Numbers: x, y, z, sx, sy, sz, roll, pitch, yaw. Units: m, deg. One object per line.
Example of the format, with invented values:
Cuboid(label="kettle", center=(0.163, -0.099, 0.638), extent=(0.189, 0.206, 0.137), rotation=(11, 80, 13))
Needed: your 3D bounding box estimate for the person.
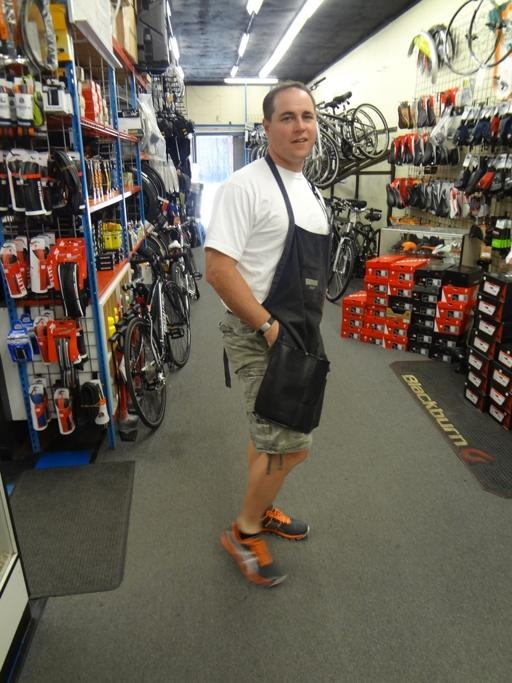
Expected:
Cuboid(label="person", center=(0.023, 0.007, 1.732), extent=(0.483, 1.909, 0.277), rotation=(5, 6, -8))

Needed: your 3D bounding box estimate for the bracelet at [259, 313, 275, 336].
Cuboid(label="bracelet", center=(0.036, -0.053, 1.605), extent=(0.051, 0.056, 0.051), rotation=(13, 9, 24))

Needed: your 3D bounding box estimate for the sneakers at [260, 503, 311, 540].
Cuboid(label="sneakers", center=(0.124, 0.830, 2.139), extent=(0.290, 0.130, 0.121), rotation=(7, 33, 5))

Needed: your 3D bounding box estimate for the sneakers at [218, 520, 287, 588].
Cuboid(label="sneakers", center=(-0.016, 0.863, 1.946), extent=(0.302, 0.141, 0.129), rotation=(38, 19, 33))
